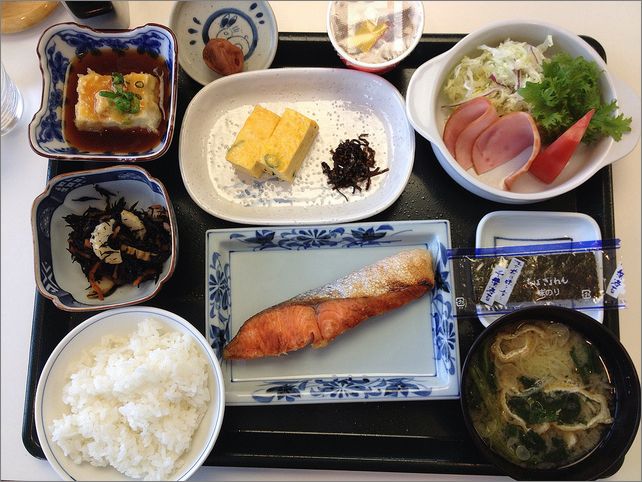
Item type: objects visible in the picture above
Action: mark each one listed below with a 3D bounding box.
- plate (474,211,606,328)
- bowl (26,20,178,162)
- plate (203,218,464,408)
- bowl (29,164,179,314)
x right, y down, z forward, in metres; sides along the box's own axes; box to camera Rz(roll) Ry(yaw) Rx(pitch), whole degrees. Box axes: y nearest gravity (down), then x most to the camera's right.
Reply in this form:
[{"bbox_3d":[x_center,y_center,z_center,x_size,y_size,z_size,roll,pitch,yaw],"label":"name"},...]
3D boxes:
[{"bbox_3d":[1.051,0.065,2.616,0.490,0.131,0.613,0,91,2],"label":"plate"},{"bbox_3d":[-1.031,-0.695,2.748,0.677,0.249,0.665,1,76,-3],"label":"bowl"},{"bbox_3d":[0.040,0.409,2.587,0.984,0.162,0.905,-1,89,3],"label":"plate"},{"bbox_3d":[-1.014,0.004,2.678,0.669,0.252,0.645,1,76,-3],"label":"bowl"}]
